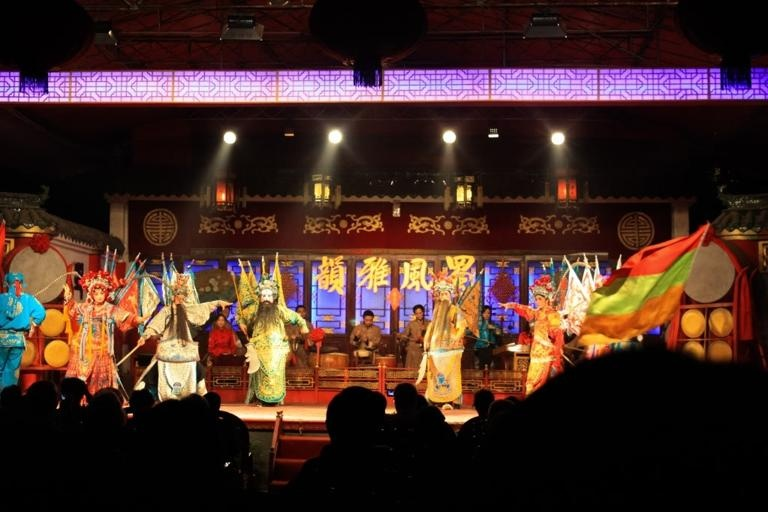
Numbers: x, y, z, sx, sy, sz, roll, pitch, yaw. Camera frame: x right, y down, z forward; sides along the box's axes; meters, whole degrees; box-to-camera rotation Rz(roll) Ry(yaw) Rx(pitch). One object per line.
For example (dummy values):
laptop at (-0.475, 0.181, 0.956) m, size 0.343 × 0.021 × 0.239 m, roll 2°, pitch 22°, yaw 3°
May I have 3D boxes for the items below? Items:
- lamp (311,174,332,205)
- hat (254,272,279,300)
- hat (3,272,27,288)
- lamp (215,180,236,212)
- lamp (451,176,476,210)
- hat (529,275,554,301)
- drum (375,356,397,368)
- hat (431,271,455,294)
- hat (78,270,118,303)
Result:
lamp at (-0.912, -0.962, 15.326) m, size 0.316 × 0.464 × 0.302 m, roll 0°, pitch 1°, yaw -15°
hat at (-1.495, 0.415, 13.197) m, size 0.255 × 0.159 × 0.344 m, roll -3°, pitch 40°, yaw -13°
hat at (-4.506, 0.304, 12.569) m, size 0.258 × 0.177 × 0.171 m, roll 6°, pitch -2°, yaw -18°
lamp at (-2.348, -0.880, 15.242) m, size 0.316 × 0.434 × 0.182 m, roll 0°, pitch 1°, yaw -30°
lamp at (1.191, -0.931, 15.285) m, size 0.348 × 0.456 × 0.407 m, roll 1°, pitch 1°, yaw 3°
hat at (1.938, 0.391, 12.719) m, size 0.277 × 0.250 × 0.304 m, roll 1°, pitch -1°, yaw 1°
drum at (0.007, 1.443, 14.130) m, size 0.189 × 0.125 × 0.186 m, roll 1°, pitch -2°, yaw 0°
hat at (0.785, 0.358, 13.316) m, size 0.259 × 0.275 × 0.136 m, roll 3°, pitch -3°, yaw 14°
hat at (-3.484, 0.385, 12.593) m, size 0.421 × 0.257 × 0.397 m, roll 0°, pitch -4°, yaw -17°
